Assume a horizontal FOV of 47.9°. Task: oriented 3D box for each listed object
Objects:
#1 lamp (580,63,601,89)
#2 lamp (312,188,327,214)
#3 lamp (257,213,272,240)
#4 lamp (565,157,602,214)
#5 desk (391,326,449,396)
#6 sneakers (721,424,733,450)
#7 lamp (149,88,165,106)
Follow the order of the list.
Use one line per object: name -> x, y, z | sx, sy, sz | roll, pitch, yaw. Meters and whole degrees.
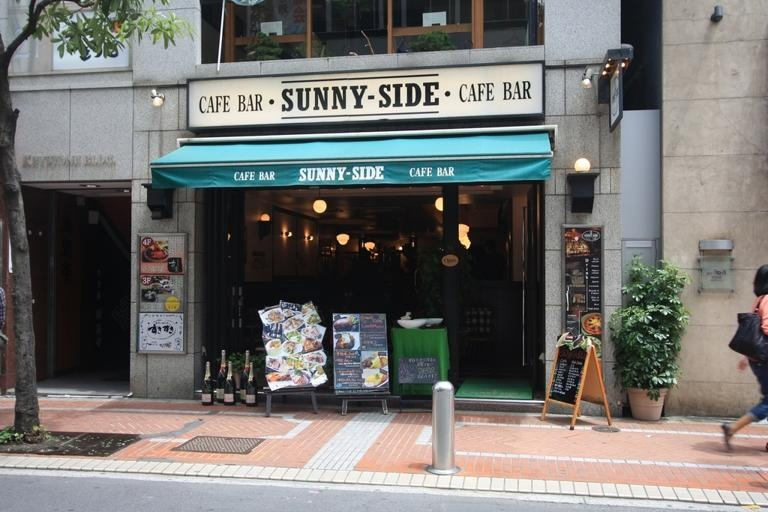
lamp -> 3.778, -3.272, 15.824 | 0.309, 0.405, 0.249 | 1, 12, 6
lamp -> -1.536, -1.338, 20.556 | 0.380, 0.778, 0.381 | 1, 3, 34
lamp -> -2.833, -0.715, 20.390 | 0.314, 0.786, 0.618 | -2, -4, 7
lamp -> 3.610, -1.297, 15.783 | 0.744, 0.924, 0.747 | -1, -5, 20
desk -> 0.695, 2.048, 16.708 | 1.237, 1.499, 1.173 | -1, -9, 4
sneakers -> 5.577, 2.911, 14.039 | 0.167, 0.472, 0.192 | -4, 8, -33
lamp -> -4.400, -3.073, 16.768 | 0.233, 0.342, 0.239 | 3, 13, 15
